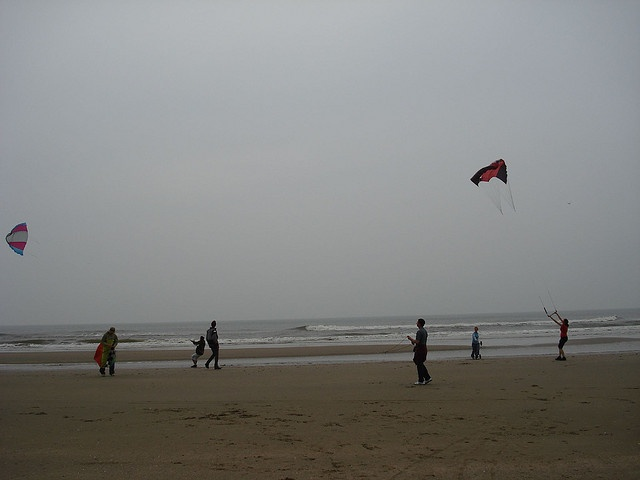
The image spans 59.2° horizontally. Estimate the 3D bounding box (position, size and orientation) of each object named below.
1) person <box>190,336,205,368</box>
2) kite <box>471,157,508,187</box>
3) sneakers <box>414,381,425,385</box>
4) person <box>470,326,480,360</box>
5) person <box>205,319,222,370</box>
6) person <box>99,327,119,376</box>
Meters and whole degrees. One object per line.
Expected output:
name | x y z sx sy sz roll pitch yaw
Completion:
person | -4.503 4.145 20.806 0.509 1.109 2.101 0 -8 -13
kite | 5.574 -2.131 18.408 0.747 0.731 1.481 -1 -8 -1
sneakers | 2.741 3.951 15.421 0.268 0.135 0.102 2 -12 10
person | 6.165 4.084 22.309 0.358 1.204 1.928 -3 -8 15
person | -3.660 3.619 19.248 0.513 1.617 0.458 5 8 37
person | -6.903 3.673 18.311 0.480 1.526 0.861 2 -8 -21
